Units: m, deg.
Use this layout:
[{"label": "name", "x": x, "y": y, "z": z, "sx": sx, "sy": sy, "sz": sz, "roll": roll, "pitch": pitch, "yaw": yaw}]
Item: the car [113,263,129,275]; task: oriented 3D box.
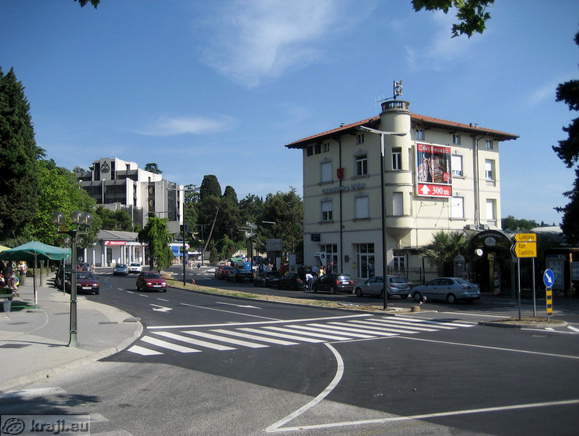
[{"label": "car", "x": -19.886, "y": 6.145, "z": 70.918, "sx": 1.487, "sy": 1.275, "sz": 1.269, "roll": 5, "pitch": -8, "yaw": -31}]

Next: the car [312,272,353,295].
[{"label": "car", "x": 3.151, "y": 4.656, "z": 42.659, "sx": 1.143, "sy": 1.423, "sz": 3.058, "roll": 6, "pitch": -9, "yaw": -40}]

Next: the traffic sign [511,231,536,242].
[{"label": "traffic sign", "x": 10.176, "y": 0.838, "z": 26.043, "sx": 0.916, "sy": 0.429, "sz": 0.600, "roll": -1, "pitch": -7, "yaw": 14}]

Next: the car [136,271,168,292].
[{"label": "car", "x": -10.229, "y": 4.681, "z": 44.097, "sx": 1.175, "sy": 1.074, "sz": 2.301, "roll": 3, "pitch": -10, "yaw": -24}]

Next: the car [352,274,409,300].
[{"label": "car", "x": 5.804, "y": 4.375, "z": 37.888, "sx": 1.418, "sy": 1.158, "sz": 3.036, "roll": 4, "pitch": -3, "yaw": -41}]
